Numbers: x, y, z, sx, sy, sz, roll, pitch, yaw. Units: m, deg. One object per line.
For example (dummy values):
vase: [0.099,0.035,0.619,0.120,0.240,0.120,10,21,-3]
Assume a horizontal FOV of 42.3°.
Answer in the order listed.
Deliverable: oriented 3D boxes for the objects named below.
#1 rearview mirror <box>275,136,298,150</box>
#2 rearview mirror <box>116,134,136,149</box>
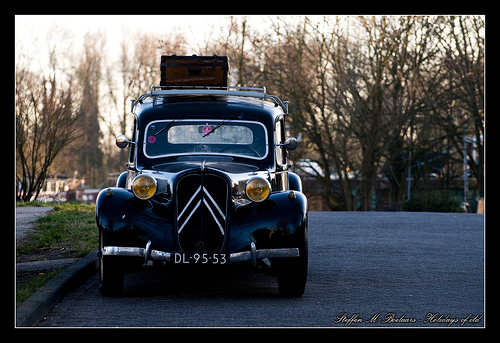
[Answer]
rearview mirror: [0.748,-0.552,12.005,0.232,0.163,0.306,7,-14,-26]
rearview mirror: [-2.290,-0.554,11.866,0.289,0.206,0.141,12,-8,15]
